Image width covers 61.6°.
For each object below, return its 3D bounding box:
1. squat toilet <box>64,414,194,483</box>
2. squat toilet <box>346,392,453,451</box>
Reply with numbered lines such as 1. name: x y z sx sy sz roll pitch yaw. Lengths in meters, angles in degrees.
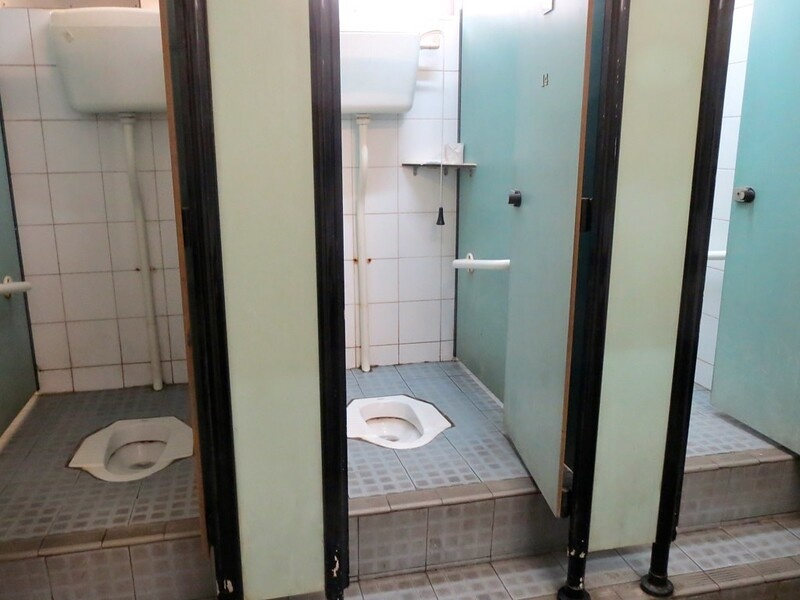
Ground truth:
1. squat toilet: -1.272 0.759 3.224 0.538 0.166 0.548 -9 20 -17
2. squat toilet: -0.004 0.667 3.472 0.524 0.162 0.585 -4 19 -4
